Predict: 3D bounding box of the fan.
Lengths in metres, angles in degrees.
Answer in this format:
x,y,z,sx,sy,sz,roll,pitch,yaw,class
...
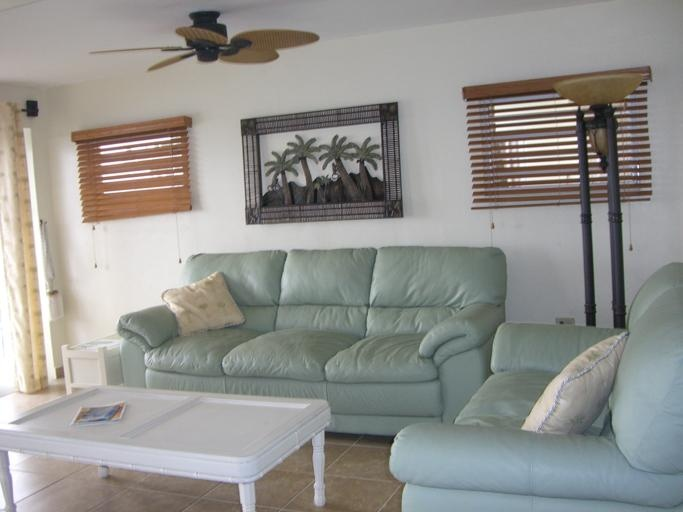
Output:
x,y,z,sx,sy,sz,roll,pitch,yaw,class
-0.885,-1.394,3.795,1.381,0.280,1.378,-9,10,-18,fan

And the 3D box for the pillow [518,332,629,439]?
x,y,z,sx,sy,sz,roll,pitch,yaw,class
0.990,0.557,2.555,0.184,0.276,0.352,6,-26,35,pillow
